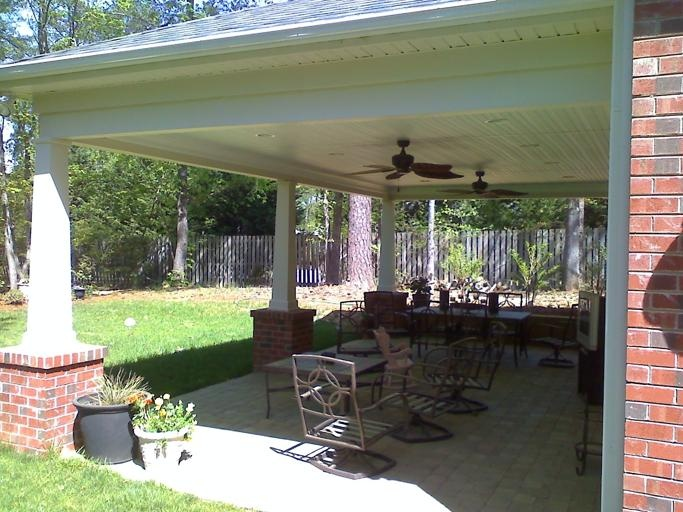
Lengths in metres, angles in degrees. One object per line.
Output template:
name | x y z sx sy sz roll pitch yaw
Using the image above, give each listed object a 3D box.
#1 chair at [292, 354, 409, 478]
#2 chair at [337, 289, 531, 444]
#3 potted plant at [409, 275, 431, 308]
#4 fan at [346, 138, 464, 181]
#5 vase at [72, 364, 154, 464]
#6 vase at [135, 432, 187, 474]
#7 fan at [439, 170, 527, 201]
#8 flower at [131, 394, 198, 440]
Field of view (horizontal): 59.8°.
chair | -0.122 1.522 6.248 1.088 1.554 1.235 3 6 36
chair | 1.464 1.696 9.778 2.094 1.851 2.215 6 6 31
potted plant | 1.852 0.798 13.577 0.527 0.703 0.705 1 -1 39
fan | 0.904 -1.166 7.836 0.800 0.253 0.851 3 2 22
vase | -2.376 1.608 6.139 0.643 0.934 0.609 3 5 10
vase | -1.743 1.873 5.680 0.416 0.292 0.412 0 -5 0
fan | 2.680 -1.303 11.163 1.242 0.426 2.400 1 4 28
flower | -1.793 1.631 5.969 0.648 0.380 0.569 3 -1 13
